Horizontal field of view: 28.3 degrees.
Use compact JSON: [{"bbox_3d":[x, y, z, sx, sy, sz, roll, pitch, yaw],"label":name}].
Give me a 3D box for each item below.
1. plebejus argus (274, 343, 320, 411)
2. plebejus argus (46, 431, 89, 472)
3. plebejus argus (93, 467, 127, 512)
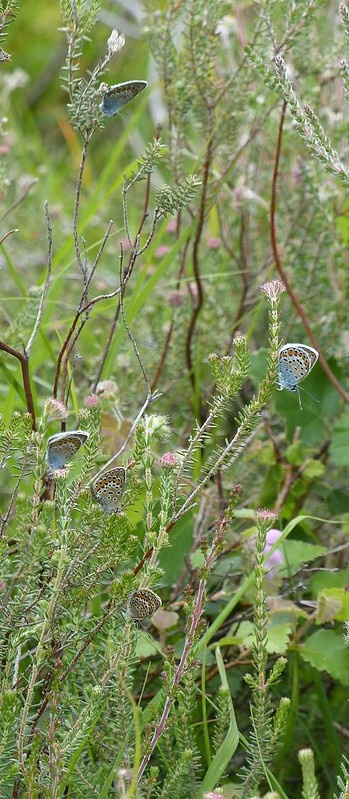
[{"bbox_3d":[0.129,-0.034,0.746,0.040,0.041,0.074,23,-1,15],"label":"plebejus argus"},{"bbox_3d":[-0.111,0.048,0.699,0.034,0.039,0.066,-36,-1,-22],"label":"plebejus argus"},{"bbox_3d":[-0.066,0.095,0.743,0.038,0.057,0.035,-1,69,0],"label":"plebejus argus"}]
